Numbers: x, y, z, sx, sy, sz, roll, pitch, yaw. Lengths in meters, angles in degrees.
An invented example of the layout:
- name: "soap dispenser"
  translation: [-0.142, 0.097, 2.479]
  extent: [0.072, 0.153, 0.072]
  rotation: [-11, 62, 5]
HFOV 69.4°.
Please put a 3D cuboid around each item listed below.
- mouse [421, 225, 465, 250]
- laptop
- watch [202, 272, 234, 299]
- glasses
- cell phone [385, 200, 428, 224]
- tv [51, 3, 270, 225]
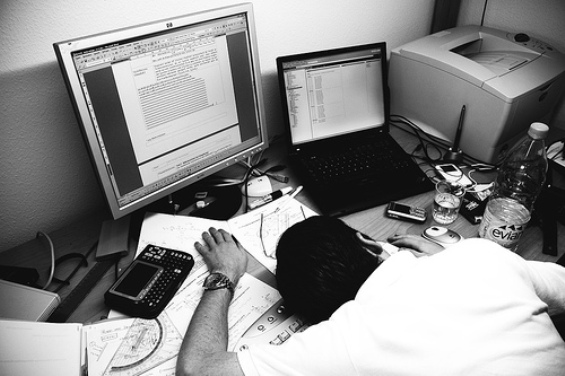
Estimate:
- name: "mouse"
  translation: [0.546, 0.158, 1.381]
  extent: [0.081, 0.030, 0.099]
  rotation: [-26, 47, -33]
- name: "laptop"
  translation: [0.288, -0.253, 1.532]
  extent: [0.533, 0.387, 0.466]
  rotation: [-19, 47, -23]
- name: "watch"
  translation: [-0.198, 0.289, 1.250]
  extent: [0.095, 0.086, 0.058]
  rotation: [-5, 56, 5]
- name: "glasses"
  translation: [0.011, 0.151, 1.444]
  extent: [0.144, 0.047, 0.198]
  rotation: [6, 47, 15]
- name: "cell phone"
  translation: [0.448, 0.084, 1.461]
  extent: [0.117, 0.026, 0.068]
  rotation: [14, 45, 12]
- name: "tv"
  translation: [-0.423, -0.246, 1.329]
  extent: [0.727, 0.581, 0.071]
  rotation: [-24, 33, -21]
